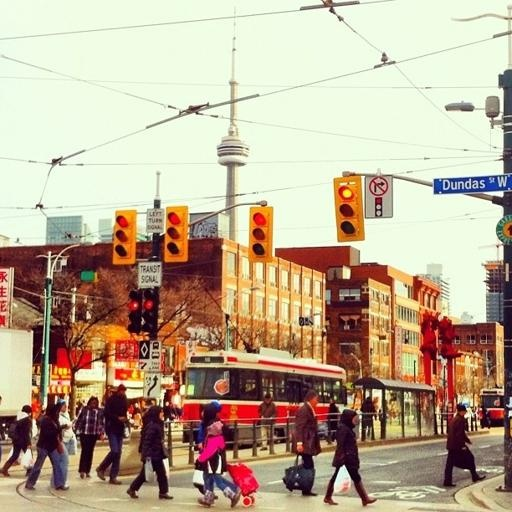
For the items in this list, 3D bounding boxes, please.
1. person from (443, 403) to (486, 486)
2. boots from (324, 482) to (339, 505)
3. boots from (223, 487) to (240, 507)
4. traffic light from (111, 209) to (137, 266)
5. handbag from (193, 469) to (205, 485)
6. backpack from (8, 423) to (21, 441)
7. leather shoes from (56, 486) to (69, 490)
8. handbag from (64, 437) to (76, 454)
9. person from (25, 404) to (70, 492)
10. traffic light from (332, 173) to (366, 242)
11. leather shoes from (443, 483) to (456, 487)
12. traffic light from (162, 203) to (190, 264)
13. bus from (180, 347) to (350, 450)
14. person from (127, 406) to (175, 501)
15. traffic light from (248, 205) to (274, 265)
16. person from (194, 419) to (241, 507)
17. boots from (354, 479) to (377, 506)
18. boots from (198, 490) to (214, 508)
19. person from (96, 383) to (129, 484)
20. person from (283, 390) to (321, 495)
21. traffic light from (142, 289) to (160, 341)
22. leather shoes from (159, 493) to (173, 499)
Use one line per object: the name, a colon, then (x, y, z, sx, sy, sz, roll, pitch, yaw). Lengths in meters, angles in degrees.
person: (4.508, 4.182, 22.234, 0.628, 1.814, 1.124, -4, -10, 21)
boots: (1.389, 4.459, 18.816, 0.233, 0.389, 0.797, -1, -11, 4)
boots: (-0.430, 4.382, 17.992, 0.312, 0.551, 0.181, 6, 20, 20)
traffic light: (-3.223, -0.457, 24.447, 0.533, 1.375, 0.946, 1, -10, -7)
handbag: (-1.059, 4.037, 18.401, 0.249, 0.280, 0.279, 6, 31, -2)
backpack: (-5.470, 3.909, 22.423, 0.190, 0.445, 0.528, 3, -11, -17)
leather shoes: (-3.895, 4.646, 20.066, 0.247, 0.128, 0.087, -1, -4, -7)
handbag: (-4.146, 4.244, 22.384, 0.311, 0.487, 0.324, 1, -8, -5)
person: (-4.190, 3.830, 20.134, 0.793, 1.703, 0.961, 2, -10, -12)
traffic light: (2.136, -1.146, 23.098, 0.649, 1.580, 0.487, -1, -9, 5)
leather shoes: (4.235, 5.017, 21.968, 0.397, 0.080, 0.229, 6, -13, -31)
traffic light: (-1.963, -0.536, 24.447, 0.541, 1.267, 0.938, 1, -10, -9)
bus: (0.886, 5.114, 37.741, 2.534, 3.918, 10.799, -5, -12, 26)
person: (-2.048, 3.798, 19.353, 0.853, 1.772, 1.258, 1, -10, -8)
traffic light: (0.110, -0.555, 24.301, 0.554, 1.434, 0.573, -1, -10, 1)
person: (-0.714, 3.760, 18.236, 0.777, 1.577, 0.585, 0, -9, -5)
boots: (2.002, 4.361, 18.461, 0.375, 0.462, 0.552, -3, -11, 12)
boots: (-0.915, 4.396, 18.213, 0.141, 0.321, 0.413, 2, -2, -28)
person: (-3.060, 3.797, 21.421, 0.586, 2.129, 0.825, 1, -10, -11)
person: (0.880, 3.654, 19.523, 0.707, 2.016, 0.927, 0, -10, 0)
traffic light: (-2.663, 1.373, 25.043, 0.411, 1.350, 1.323, 1, -10, -7)
leather shoes: (-1.726, 4.573, 19.063, 0.259, 0.133, 0.099, 4, -5, -20)
